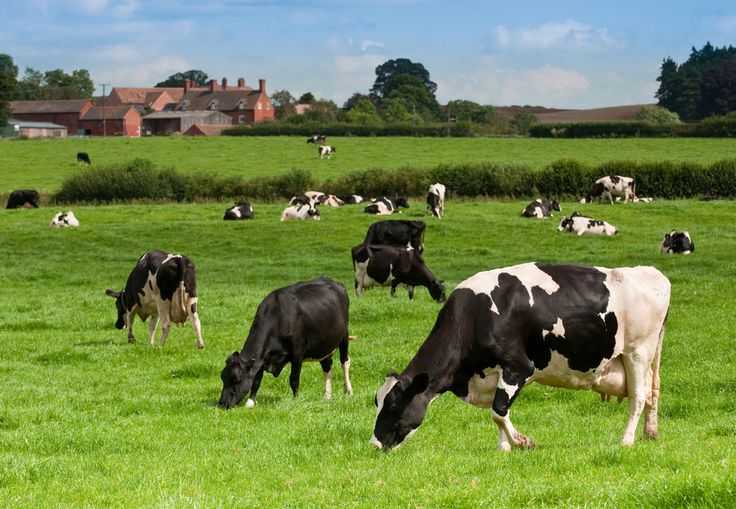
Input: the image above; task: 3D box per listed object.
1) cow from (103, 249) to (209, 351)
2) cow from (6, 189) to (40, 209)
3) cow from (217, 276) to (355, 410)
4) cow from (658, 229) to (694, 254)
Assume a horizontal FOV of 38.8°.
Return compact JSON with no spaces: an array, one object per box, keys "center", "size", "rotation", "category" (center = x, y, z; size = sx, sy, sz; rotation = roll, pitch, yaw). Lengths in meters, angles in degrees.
[{"center":[-6.323,1.304,31.820],"size":[3.265,2.798,1.008],"rotation":[4,6,35],"category":"cow"},{"center":[-18.961,-3.119,57.697],"size":[1.749,0.955,1.032],"rotation":[-1,5,-21],"category":"cow"},{"center":[-2.151,2.467,27.655],"size":[1.766,3.359,4.759],"rotation":[11,15,41],"category":"cow"},{"center":[12.140,-0.486,41.206],"size":[0.989,0.602,1.467],"rotation":[2,2,17],"category":"cow"}]
